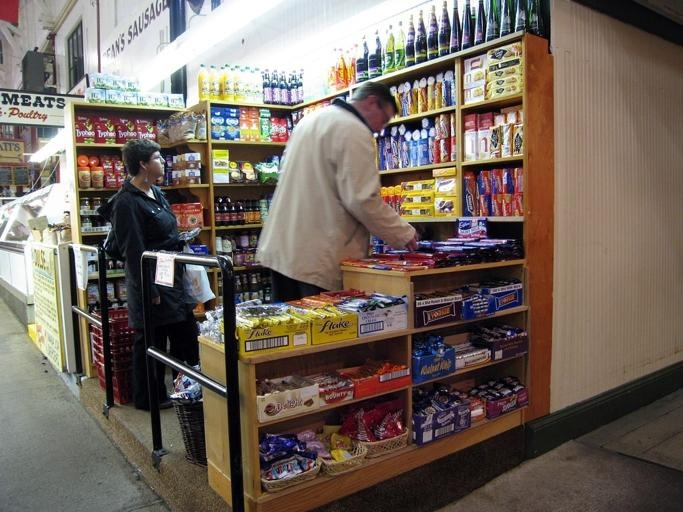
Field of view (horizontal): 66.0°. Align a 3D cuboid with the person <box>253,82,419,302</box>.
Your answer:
[{"bbox_3d":[-0.071,-0.411,3.475,0.993,1.443,0.497,-3,11,-10],"label":"person"}]

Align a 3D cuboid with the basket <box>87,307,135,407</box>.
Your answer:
[{"bbox_3d":[-2.016,0.853,4.434,0.485,0.497,0.742,-2,6,-28],"label":"basket"}]

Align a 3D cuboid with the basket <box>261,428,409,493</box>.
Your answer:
[{"bbox_3d":[-0.108,1.120,2.972,0.567,0.096,0.305,-1,0,-36],"label":"basket"}]

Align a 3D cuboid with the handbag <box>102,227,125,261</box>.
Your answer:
[{"bbox_3d":[-1.878,-0.094,4.309,0.097,0.260,0.263,5,4,-20],"label":"handbag"}]
